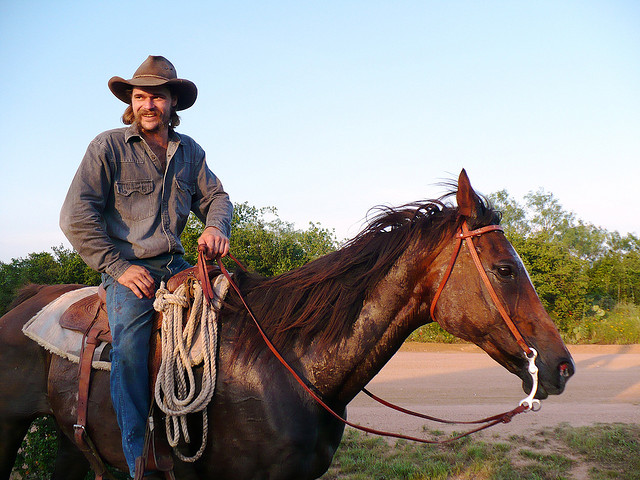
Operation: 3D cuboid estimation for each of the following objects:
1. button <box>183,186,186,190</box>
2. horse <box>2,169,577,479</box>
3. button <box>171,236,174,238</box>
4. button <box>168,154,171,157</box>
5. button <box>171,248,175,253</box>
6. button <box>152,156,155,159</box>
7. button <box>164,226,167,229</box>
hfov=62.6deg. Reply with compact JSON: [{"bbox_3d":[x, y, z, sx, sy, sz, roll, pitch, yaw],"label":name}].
[{"bbox_3d":[-1.178,-0.452,4.556,0.023,0.026,0.006,7,6,25],"label":"button"},{"bbox_3d":[-0.339,0.792,4.057,4.258,2.583,0.763,0,-3,12],"label":"horse"},{"bbox_3d":[-1.231,-0.027,4.394,0.008,0.011,0.024,-1,-3,37],"label":"button"},{"bbox_3d":[-1.290,-0.721,4.508,0.023,0.018,0.007,1,-3,-1],"label":"button"},{"bbox_3d":[-1.234,0.091,4.417,0.030,0.026,0.022,2,-3,-32],"label":"button"},{"bbox_3d":[-1.408,-0.698,4.438,0.013,0.016,0.014,17,-32,-33],"label":"button"},{"bbox_3d":[-1.288,-0.104,4.388,0.026,0.018,0.006,-8,4,0],"label":"button"}]
